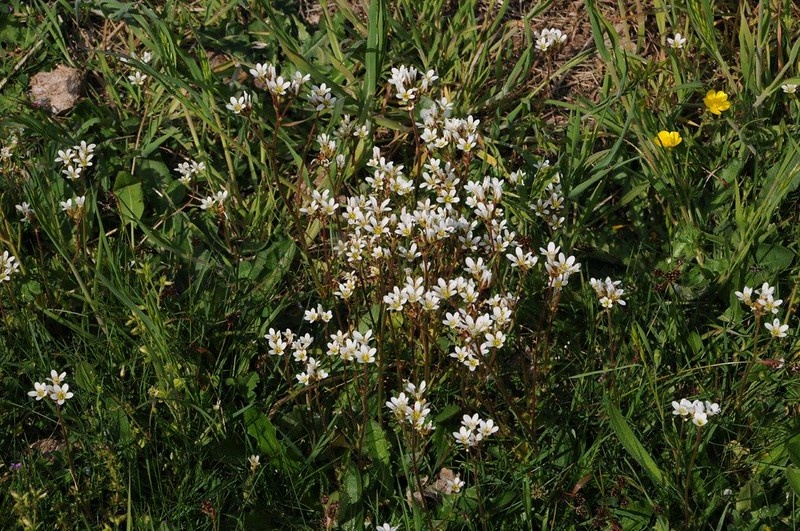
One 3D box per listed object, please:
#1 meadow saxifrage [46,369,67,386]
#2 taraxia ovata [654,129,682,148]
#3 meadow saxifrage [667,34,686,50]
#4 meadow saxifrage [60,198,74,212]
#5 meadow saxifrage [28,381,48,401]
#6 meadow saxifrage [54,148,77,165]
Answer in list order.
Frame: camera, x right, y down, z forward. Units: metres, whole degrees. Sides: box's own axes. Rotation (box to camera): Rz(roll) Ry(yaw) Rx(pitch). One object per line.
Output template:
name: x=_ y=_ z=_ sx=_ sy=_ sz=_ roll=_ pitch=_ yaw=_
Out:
meadow saxifrage: x=-1.639 y=0.536 z=3.378 sx=0.068 sy=0.045 sz=0.082 roll=9 pitch=17 yaw=-17
taraxia ovata: x=1.481 y=-0.723 z=3.920 sx=0.101 sy=0.082 sz=0.123 roll=5 pitch=33 yaw=13
meadow saxifrage: x=1.696 y=-1.369 z=4.344 sx=0.105 sy=0.064 sz=0.134 roll=3 pitch=53 yaw=32
meadow saxifrage: x=-1.811 y=-0.325 z=3.860 sx=0.063 sy=0.036 sz=0.089 roll=-33 pitch=37 yaw=1
meadow saxifrage: x=-1.726 y=0.603 z=3.388 sx=0.072 sy=0.042 sz=0.094 roll=-10 pitch=58 yaw=-19
meadow saxifrage: x=-1.898 y=-0.617 z=4.024 sx=0.089 sy=0.039 sz=0.105 roll=3 pitch=42 yaw=12
